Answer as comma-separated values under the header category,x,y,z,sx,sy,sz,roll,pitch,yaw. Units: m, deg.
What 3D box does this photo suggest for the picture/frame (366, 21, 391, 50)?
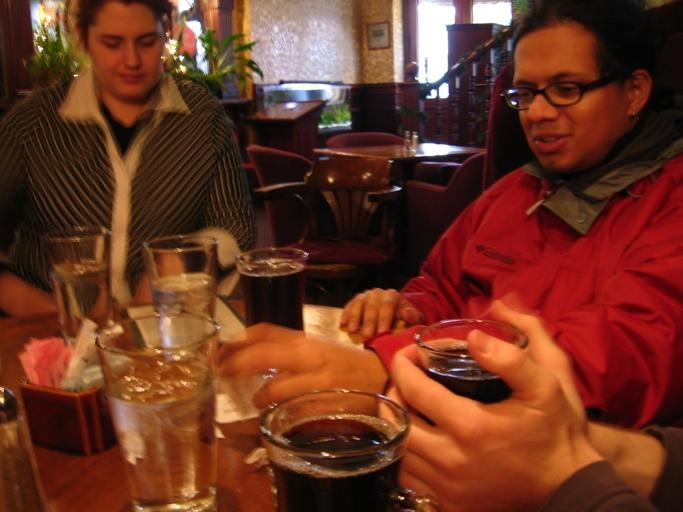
category,x,y,z,sx,sy,sz,roll,pitch,yaw
picture/frame,0.688,-4.825,10.336,0.563,0.566,0.055,3,11,19

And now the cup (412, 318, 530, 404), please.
category,x,y,z,sx,sy,sz,roll,pitch,yaw
cup,0.150,0.092,0.665,0.109,0.082,0.109,0,17,0

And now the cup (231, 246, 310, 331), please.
category,x,y,z,sx,sy,sz,roll,pitch,yaw
cup,-0.125,0.030,1.183,0.192,0.241,0.161,-1,4,-4
